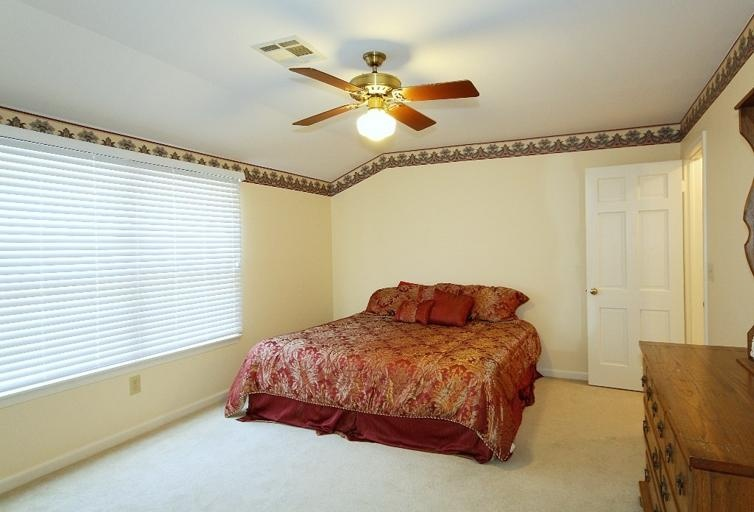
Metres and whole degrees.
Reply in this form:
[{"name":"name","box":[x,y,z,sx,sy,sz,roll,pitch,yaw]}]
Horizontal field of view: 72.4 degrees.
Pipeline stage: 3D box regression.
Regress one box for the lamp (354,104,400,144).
[{"name":"lamp","box":[-0.004,-1.098,4.084,0.291,0.251,0.282,8,-9,-31]}]

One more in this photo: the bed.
[{"name":"bed","box":[0.498,1.073,5.147,1.724,0.791,2.055,-1,-3,30]}]

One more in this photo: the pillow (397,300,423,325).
[{"name":"pillow","box":[0.339,0.609,5.704,0.237,0.219,0.071,-5,-33,38]}]

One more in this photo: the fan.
[{"name":"fan","box":[-0.006,-1.293,4.106,1.219,0.626,1.246,1,4,-6]}]
